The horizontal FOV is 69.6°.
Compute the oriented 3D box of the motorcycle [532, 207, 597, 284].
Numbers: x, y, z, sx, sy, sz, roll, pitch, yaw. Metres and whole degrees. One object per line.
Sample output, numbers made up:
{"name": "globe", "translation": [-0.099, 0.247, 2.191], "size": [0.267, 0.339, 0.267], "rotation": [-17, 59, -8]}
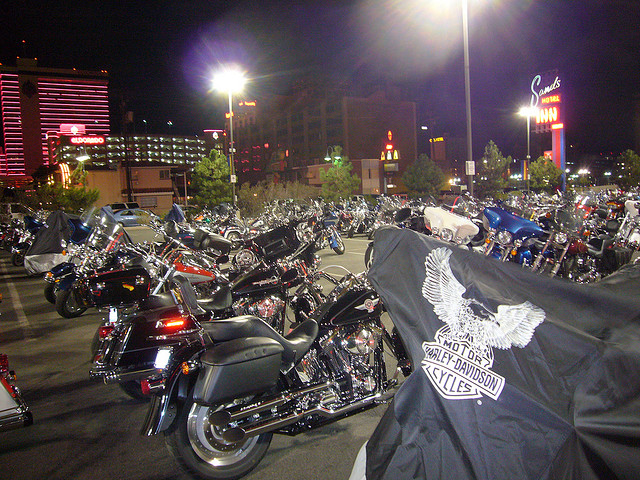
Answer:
{"name": "motorcycle", "translation": [5.039, 0.142, 9.443], "size": [2.262, 1.432, 0.931], "rotation": [-7, 9, -44]}

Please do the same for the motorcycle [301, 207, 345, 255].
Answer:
{"name": "motorcycle", "translation": [0.056, -0.131, 7.413], "size": [0.696, 0.517, 0.449], "rotation": [2, 0, -27]}

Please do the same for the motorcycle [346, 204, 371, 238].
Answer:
{"name": "motorcycle", "translation": [1.879, -0.899, 20.812], "size": [1.357, 1.029, 0.900], "rotation": [10, -1, -29]}

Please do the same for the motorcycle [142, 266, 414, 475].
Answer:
{"name": "motorcycle", "translation": [-0.334, 1.154, 5.019], "size": [2.959, 1.747, 1.523], "rotation": [-11, 5, -39]}
